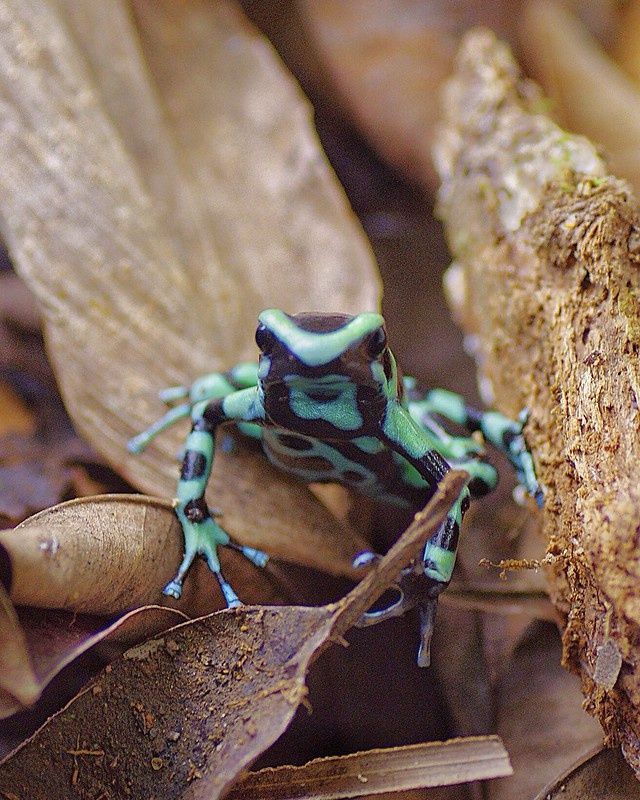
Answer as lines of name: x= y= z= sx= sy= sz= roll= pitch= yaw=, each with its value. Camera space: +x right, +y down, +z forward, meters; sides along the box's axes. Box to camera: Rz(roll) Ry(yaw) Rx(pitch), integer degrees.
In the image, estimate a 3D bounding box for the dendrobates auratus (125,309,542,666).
dendrobates auratus: x=0.016 y=0.023 z=1.031 sx=0.451 sy=0.217 sz=0.408 roll=-1 pitch=7 yaw=-10
